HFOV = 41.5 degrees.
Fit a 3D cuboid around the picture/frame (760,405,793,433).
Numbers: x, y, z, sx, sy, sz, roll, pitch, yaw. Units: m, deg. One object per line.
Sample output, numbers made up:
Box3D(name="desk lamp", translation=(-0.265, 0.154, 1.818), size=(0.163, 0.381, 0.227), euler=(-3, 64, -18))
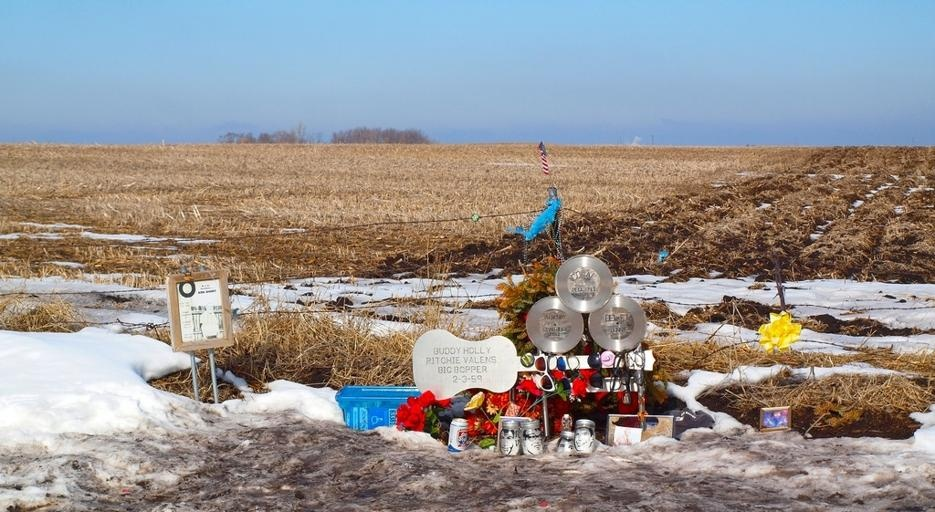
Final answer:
Box3D(name="picture/frame", translation=(6.208, 3.353, 24.998), size=(0.573, 0.403, 0.071), euler=(-1, 0, 4))
